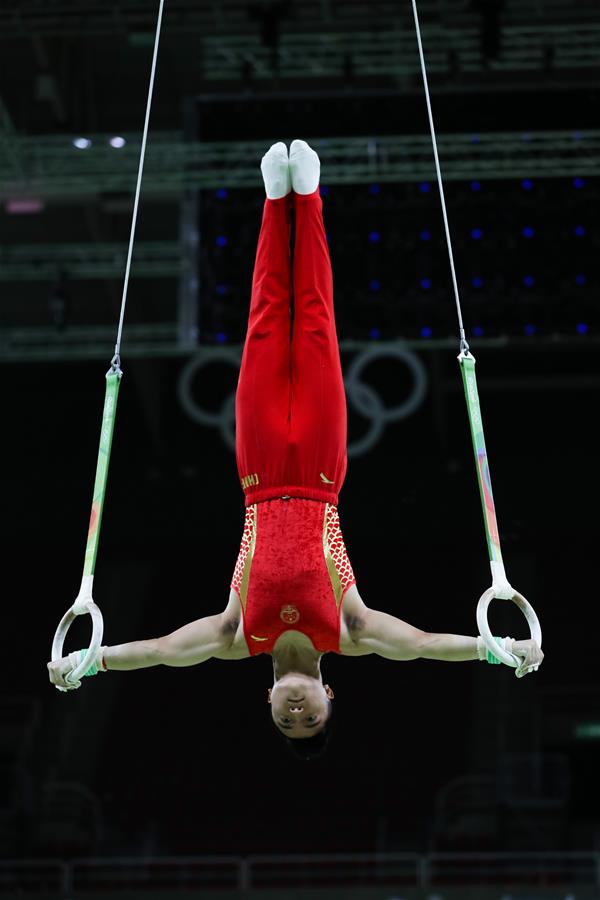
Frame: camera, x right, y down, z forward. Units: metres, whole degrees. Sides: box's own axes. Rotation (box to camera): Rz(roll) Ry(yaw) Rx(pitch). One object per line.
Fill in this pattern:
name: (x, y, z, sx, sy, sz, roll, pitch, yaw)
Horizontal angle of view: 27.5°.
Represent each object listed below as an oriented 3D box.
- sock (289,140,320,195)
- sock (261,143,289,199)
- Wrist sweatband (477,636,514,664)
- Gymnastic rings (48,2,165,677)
sock: (0.013, -0.844, 3.663, 0.093, 0.042, 0.161, -12, 97, -15)
sock: (-0.079, -0.832, 3.689, 0.062, 0.080, 0.189, -2, 78, 2)
Wrist sweatband: (0.519, 0.542, 3.314, 0.101, 0.075, 0.037, 3, 85, 4)
Gymnastic rings: (-0.715, -0.049, 4.430, 0.266, 2.651, 2.544, 3, 43, -8)
